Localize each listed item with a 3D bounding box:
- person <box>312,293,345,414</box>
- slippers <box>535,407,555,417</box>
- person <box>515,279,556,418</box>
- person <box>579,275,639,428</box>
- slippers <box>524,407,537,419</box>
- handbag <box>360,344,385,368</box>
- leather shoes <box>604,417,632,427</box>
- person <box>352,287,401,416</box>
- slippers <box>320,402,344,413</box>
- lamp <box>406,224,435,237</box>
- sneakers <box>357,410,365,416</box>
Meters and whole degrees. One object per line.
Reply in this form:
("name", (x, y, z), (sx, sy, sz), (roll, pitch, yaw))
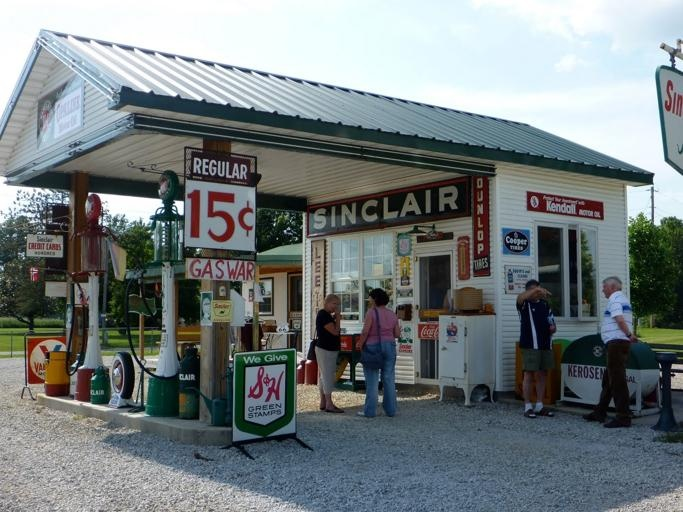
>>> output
("person", (-0.212, 1.676, 13.761), (0.469, 1.993, 0.933), (0, -4, -1))
("slippers", (3.357, 2.586, 13.336), (0.352, 0.144, 0.302), (0, -5, 1))
("person", (3.242, 1.539, 13.379), (0.582, 2.247, 0.420), (0, -4, 4))
("person", (4.255, 1.499, 12.664), (0.687, 2.321, 0.796), (-1, -4, 18))
("slippers", (3.080, 2.580, 13.176), (0.181, 0.151, 0.212), (-1, -5, 14))
("handbag", (0.520, 1.657, 13.287), (0.315, 0.499, 0.174), (3, -4, 26))
("leather shoes", (4.238, 2.584, 12.413), (0.411, 0.203, 0.168), (3, -8, -3))
("person", (0.636, 1.616, 13.475), (0.665, 2.113, 0.500), (1, -4, -9))
("slippers", (-0.193, 2.599, 13.835), (0.468, 0.236, 0.173), (-7, -7, 38))
("lamp", (1.581, -0.483, 15.956), (0.278, 0.256, 0.660), (4, -6, -42))
("sneakers", (0.330, 2.655, 13.502), (0.052, 0.086, 0.184), (3, -19, -13))
